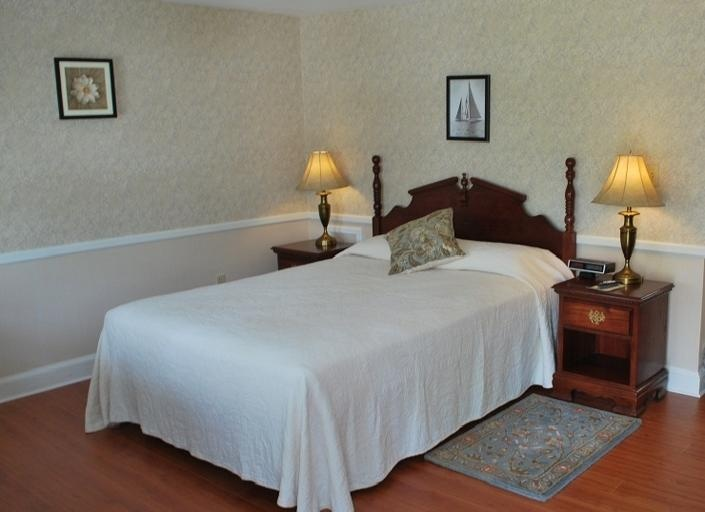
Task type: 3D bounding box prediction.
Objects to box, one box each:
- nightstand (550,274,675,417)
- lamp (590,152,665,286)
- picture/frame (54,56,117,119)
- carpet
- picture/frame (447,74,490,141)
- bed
[{"bbox_3d":[1.755,0.485,4.256,0.890,1.195,0.843,5,9,40],"label":"nightstand"},{"bbox_3d":[1.956,-0.267,3.953,0.458,0.870,0.386,-10,18,-35],"label":"lamp"},{"bbox_3d":[-2.054,-1.291,4.289,0.043,0.473,0.450,12,18,43],"label":"picture/frame"},{"bbox_3d":[1.115,1.128,3.436,1.258,0.059,0.712,-12,19,-40],"label":"carpet"},{"bbox_3d":[0.985,-1.258,4.697,0.484,0.686,0.048,8,17,34],"label":"picture/frame"},{"bbox_3d":[-0.005,0.356,3.764,3.118,1.537,1.813,-11,18,-37],"label":"bed"}]
